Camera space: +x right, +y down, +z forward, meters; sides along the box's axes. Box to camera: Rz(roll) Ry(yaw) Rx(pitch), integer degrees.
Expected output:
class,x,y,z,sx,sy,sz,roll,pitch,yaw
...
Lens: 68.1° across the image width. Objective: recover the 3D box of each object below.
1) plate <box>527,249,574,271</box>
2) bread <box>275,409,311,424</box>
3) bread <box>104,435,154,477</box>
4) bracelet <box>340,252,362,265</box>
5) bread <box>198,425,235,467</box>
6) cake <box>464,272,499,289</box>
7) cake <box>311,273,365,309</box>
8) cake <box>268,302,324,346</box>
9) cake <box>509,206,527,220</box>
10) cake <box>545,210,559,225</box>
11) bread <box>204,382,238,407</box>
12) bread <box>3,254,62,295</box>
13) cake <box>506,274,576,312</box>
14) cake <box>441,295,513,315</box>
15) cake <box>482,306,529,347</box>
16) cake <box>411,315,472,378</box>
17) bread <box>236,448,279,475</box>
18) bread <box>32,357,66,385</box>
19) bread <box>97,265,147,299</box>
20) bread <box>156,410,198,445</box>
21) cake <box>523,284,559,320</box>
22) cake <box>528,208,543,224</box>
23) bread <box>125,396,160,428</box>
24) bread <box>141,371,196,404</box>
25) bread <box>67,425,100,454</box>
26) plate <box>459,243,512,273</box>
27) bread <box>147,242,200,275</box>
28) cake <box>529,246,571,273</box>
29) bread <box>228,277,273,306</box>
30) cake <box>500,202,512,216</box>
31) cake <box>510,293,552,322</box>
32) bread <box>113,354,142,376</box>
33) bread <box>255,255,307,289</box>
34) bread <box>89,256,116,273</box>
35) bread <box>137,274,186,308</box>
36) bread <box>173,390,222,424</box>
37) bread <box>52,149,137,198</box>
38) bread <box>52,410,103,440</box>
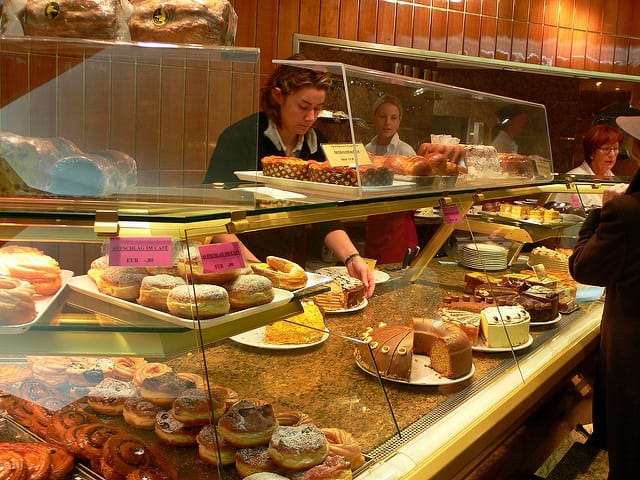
class,x,y,z,sx,sy,sz,roll,pitch,yaw
plate,1.317,0.111,2.735,0.179,0.063,0.169,2,5,2
bread,-0.075,0.482,1.274,0.049,0.017,0.046,0,5,13
bread,-0.455,0.517,1.126,0.084,0.022,0.084,21,17,-17
bracelet,0.112,0.075,1.817,0.046,0.013,0.048,-34,-6,15
bread,-0.254,0.513,1.155,0.098,0.102,0.061,-1,19,-9
cake,0.779,0.177,2.262,0.106,0.031,0.119,11,12,43
cake,0.084,0.201,1.735,0.147,0.049,0.153,11,16,44
cake,-0.076,0.274,1.478,0.149,0.063,0.152,-1,6,21
cake,1.107,-0.156,2.631,0.135,0.087,0.071,-8,10,-39
cake,1.339,-0.135,2.751,0.088,0.052,0.087,-2,10,-1
bread,-0.261,0.407,1.229,0.072,0.021,0.072,7,14,3
bread,-0.677,0.076,1.121,0.121,0.041,0.094,24,28,-1
cake,1.189,0.247,2.507,0.265,0.099,0.280,-2,15,16
cake,0.659,0.283,2.089,0.155,0.032,0.144,-3,5,-32
cake,0.757,0.349,1.960,0.178,0.062,0.172,-5,8,-15
cake,0.434,0.381,1.733,0.174,0.146,0.305,-3,14,-19
bread,-0.167,0.556,1.179,0.069,0.020,0.068,1,7,-15
bread,-0.665,0.319,1.153,0.067,0.041,0.067,33,30,30
bread,-0.467,0.101,1.116,0.086,0.046,0.088,4,14,5
bread,-0.348,0.461,1.177,0.077,0.025,0.079,12,12,16
cake,1.093,0.306,2.313,0.179,0.061,0.144,-3,19,-30
cake,1.228,-0.138,2.692,0.083,0.067,0.080,-5,8,-24
bread,-0.449,0.435,1.176,0.087,0.052,0.044,6,19,11
bread,-0.390,0.378,1.195,0.097,0.036,0.094,2,6,-41
bread,-0.584,0.485,1.153,0.046,0.051,0.060,12,22,28
plate,0.860,0.086,2.456,0.225,0.088,0.179,4,9,27
bread,-0.352,0.043,1.138,0.133,0.076,0.035,-10,22,-31
cake,1.321,0.110,2.729,0.191,0.066,0.175,-3,8,-32
bread,-0.187,0.127,1.236,0.082,0.042,0.083,0,8,15
cake,0.999,-0.169,2.561,0.071,0.066,0.070,0,12,3
cake,1.009,0.325,2.246,0.150,0.052,0.144,-5,9,-39
bread,-0.483,0.315,1.184,0.068,0.028,0.063,3,-4,3
bread,-0.109,0.084,1.355,0.103,0.035,0.109,27,13,16
bread,-0.510,0.066,1.115,0.047,0.037,0.015,3,4,14
bread,-0.381,0.110,1.127,0.088,0.057,0.088,-2,7,-26
bread,-0.308,0.422,1.185,0.089,0.043,0.090,2,14,0
bread,-0.523,-0.147,1.097,0.114,0.072,0.147,5,12,3
bread,-0.610,0.448,1.174,0.078,0.022,0.079,26,13,35
